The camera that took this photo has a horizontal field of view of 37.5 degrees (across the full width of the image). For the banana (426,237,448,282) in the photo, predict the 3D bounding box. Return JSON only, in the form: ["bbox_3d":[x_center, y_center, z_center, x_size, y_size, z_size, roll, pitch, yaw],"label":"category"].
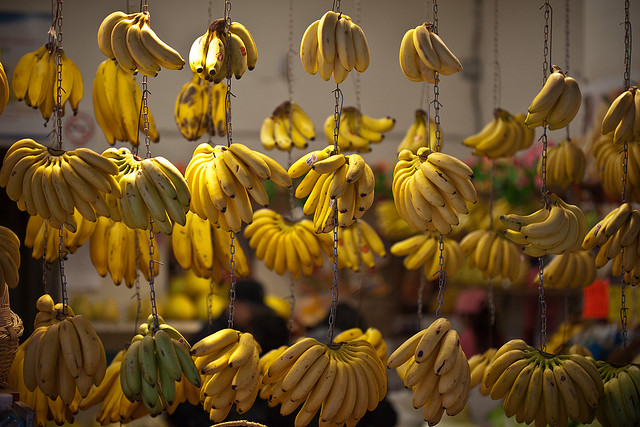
[{"bbox_3d":[0.778,0.312,6.286,0.133,0.273,0.065,4,-1,18],"label":"banana"}]

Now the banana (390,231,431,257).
[{"bbox_3d":[0.651,0.212,6.745,0.066,0.226,0.084,51,3,-44],"label":"banana"}]

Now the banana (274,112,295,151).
[{"bbox_3d":[-0.267,-0.532,6.371,0.100,0.334,0.079,10,-44,-38],"label":"banana"}]

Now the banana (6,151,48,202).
[{"bbox_3d":[-1.760,-0.320,5.670,0.108,0.462,0.106,20,-11,-17],"label":"banana"}]

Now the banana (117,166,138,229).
[{"bbox_3d":[-1.162,-0.080,5.697,0.123,0.440,0.085,-5,4,14],"label":"banana"}]

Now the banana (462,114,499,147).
[{"bbox_3d":[1.094,-0.546,6.475,0.287,0.204,0.101,-18,-8,24],"label":"banana"}]

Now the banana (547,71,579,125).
[{"bbox_3d":[1.497,-0.712,5.803,0.192,0.303,0.066,8,-2,-31],"label":"banana"}]

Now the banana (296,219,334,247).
[{"bbox_3d":[-0.033,0.128,6.079,0.195,0.075,0.051,39,16,6],"label":"banana"}]

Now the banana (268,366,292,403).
[{"bbox_3d":[-0.254,1.067,5.693,0.053,0.256,0.082,31,3,42],"label":"banana"}]

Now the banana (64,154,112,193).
[{"bbox_3d":[-1.378,-0.237,5.568,0.053,0.227,0.058,-41,7,-22],"label":"banana"}]

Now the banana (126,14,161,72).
[{"bbox_3d":[-1.044,-1.004,5.562,0.187,0.273,0.063,-28,10,-27],"label":"banana"}]

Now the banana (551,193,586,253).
[{"bbox_3d":[1.538,0.058,5.781,0.073,0.255,0.322,-6,-36,16],"label":"banana"}]

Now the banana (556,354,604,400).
[{"bbox_3d":[1.574,1.010,5.757,0.047,0.273,0.072,-36,-8,-15],"label":"banana"}]

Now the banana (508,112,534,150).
[{"bbox_3d":[1.376,-0.609,6.522,0.065,0.223,0.212,0,31,26],"label":"banana"}]

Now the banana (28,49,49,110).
[{"bbox_3d":[-1.738,-0.854,5.944,0.088,0.356,0.110,8,-11,12],"label":"banana"}]

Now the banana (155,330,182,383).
[{"bbox_3d":[-0.899,0.828,5.626,0.098,0.399,0.097,-18,-8,22],"label":"banana"}]

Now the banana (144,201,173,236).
[{"bbox_3d":[-0.962,0.017,5.622,0.040,0.186,0.060,-25,8,30],"label":"banana"}]

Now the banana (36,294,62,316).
[{"bbox_3d":[-1.657,0.556,5.740,0.162,0.095,0.068,33,-19,-24],"label":"banana"}]

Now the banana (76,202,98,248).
[{"bbox_3d":[-1.454,0.059,5.871,0.062,0.269,0.082,16,8,29],"label":"banana"}]

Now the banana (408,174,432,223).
[{"bbox_3d":[0.604,-0.072,5.698,0.087,0.334,0.083,-14,-6,17],"label":"banana"}]

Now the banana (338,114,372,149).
[{"bbox_3d":[0.230,-0.560,6.407,0.125,0.189,0.059,-32,-14,-39],"label":"banana"}]

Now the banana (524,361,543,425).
[{"bbox_3d":[1.297,1.112,5.740,0.071,0.420,0.123,6,-9,1],"label":"banana"}]

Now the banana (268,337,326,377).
[{"bbox_3d":[-0.194,0.917,5.686,0.090,0.158,0.485,15,-24,-25],"label":"banana"}]

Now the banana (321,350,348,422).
[{"bbox_3d":[0.107,1.055,5.646,0.088,0.494,0.149,19,-16,-19],"label":"banana"}]

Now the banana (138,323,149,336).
[{"bbox_3d":[-1.073,0.708,5.744,0.050,0.074,0.055,4,1,-3],"label":"banana"}]

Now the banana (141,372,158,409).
[{"bbox_3d":[-1.008,1.071,5.576,0.056,0.258,0.074,-6,-6,-2],"label":"banana"}]

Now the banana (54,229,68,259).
[{"bbox_3d":[-1.641,0.187,5.976,0.027,0.184,0.043,-5,5,32],"label":"banana"}]

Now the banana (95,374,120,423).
[{"bbox_3d":[-1.307,1.140,5.817,0.059,0.338,0.079,9,-24,46],"label":"banana"}]

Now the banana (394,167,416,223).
[{"bbox_3d":[0.499,-0.133,5.768,0.059,0.280,0.182,0,-2,-5],"label":"banana"}]

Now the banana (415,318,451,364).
[{"bbox_3d":[0.665,0.780,5.728,0.123,0.126,0.405,37,27,11],"label":"banana"}]

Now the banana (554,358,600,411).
[{"bbox_3d":[1.581,1.026,5.817,0.096,0.148,0.478,29,4,-39],"label":"banana"}]

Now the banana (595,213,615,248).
[{"bbox_3d":[1.780,0.138,5.893,0.059,0.263,0.075,12,1,21],"label":"banana"}]

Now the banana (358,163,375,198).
[{"bbox_3d":[0.272,-0.222,5.700,0.097,0.053,0.199,41,-24,11],"label":"banana"}]

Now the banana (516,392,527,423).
[{"bbox_3d":[1.232,1.192,5.785,0.040,0.189,0.053,2,-7,1],"label":"banana"}]

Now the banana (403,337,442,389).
[{"bbox_3d":[0.637,0.856,5.662,0.134,0.123,0.466,-28,-38,-11],"label":"banana"}]

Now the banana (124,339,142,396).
[{"bbox_3d":[-1.106,0.924,5.588,0.091,0.343,0.080,-3,-10,41],"label":"banana"}]

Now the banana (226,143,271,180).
[{"bbox_3d":[-0.436,-0.320,5.705,0.122,0.181,0.452,-26,29,-37],"label":"banana"}]

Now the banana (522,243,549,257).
[{"bbox_3d":[1.301,0.224,5.799,0.200,0.065,0.074,11,16,-4],"label":"banana"}]

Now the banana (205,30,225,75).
[{"bbox_3d":[-0.630,-0.948,5.647,0.071,0.298,0.099,0,-16,24],"label":"banana"}]

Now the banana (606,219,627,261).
[{"bbox_3d":[1.847,0.191,5.942,0.072,0.320,0.092,9,-7,44],"label":"banana"}]

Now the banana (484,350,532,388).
[{"bbox_3d":[1.154,0.965,5.869,0.495,0.158,0.109,-12,0,-41],"label":"banana"}]

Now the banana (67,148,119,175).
[{"bbox_3d":[-1.352,-0.335,5.608,0.355,0.119,0.078,2,-7,12],"label":"banana"}]

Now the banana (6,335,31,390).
[{"bbox_3d":[-1.843,0.925,5.753,0.056,0.326,0.115,12,5,12],"label":"banana"}]

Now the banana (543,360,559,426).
[{"bbox_3d":[1.397,1.094,5.738,0.065,0.397,0.089,1,-11,-11],"label":"banana"}]
